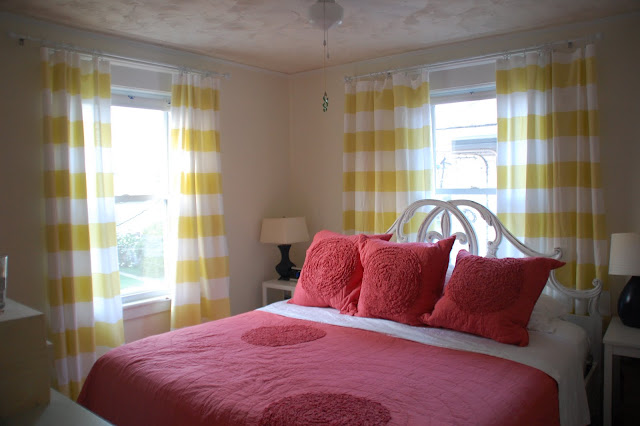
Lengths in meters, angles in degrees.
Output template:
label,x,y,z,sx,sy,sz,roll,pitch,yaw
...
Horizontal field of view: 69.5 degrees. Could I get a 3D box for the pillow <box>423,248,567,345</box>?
label,x,y,z,sx,sy,sz,roll,pitch,yaw
pillow,1.210,0.583,3.312,0.817,0.513,0.461,6,14,27

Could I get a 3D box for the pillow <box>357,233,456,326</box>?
label,x,y,z,sx,sy,sz,roll,pitch,yaw
pillow,0.629,0.526,3.621,0.768,0.688,0.316,2,-11,36

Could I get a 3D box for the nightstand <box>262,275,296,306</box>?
label,x,y,z,sx,sy,sz,roll,pitch,yaw
nightstand,-0.374,0.742,4.854,0.401,0.385,0.293,-2,-4,43

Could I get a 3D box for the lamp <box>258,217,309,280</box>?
label,x,y,z,sx,sy,sz,roll,pitch,yaw
lamp,-0.366,0.380,4.898,0.513,0.645,0.530,-2,0,-21
